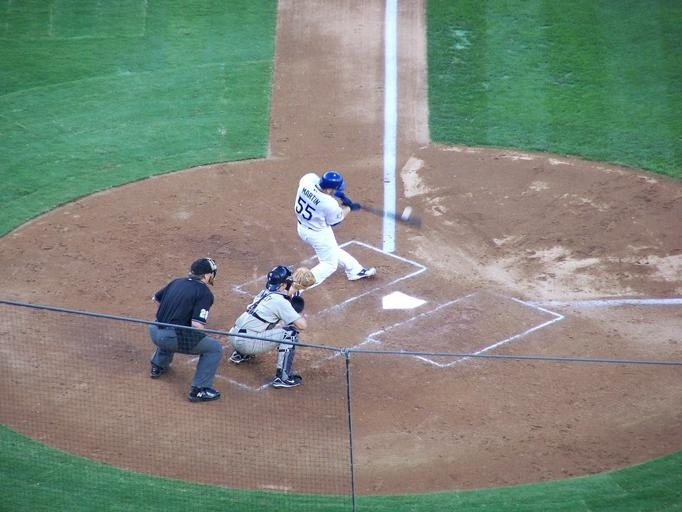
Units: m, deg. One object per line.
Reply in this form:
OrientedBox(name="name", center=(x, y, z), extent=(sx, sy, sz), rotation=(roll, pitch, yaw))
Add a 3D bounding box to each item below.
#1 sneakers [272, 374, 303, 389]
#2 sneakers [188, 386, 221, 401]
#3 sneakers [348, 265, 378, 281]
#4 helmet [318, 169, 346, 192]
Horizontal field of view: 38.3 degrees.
OrientedBox(name="sneakers", center=(-0.857, 1.989, 15.545), extent=(0.611, 0.168, 0.172), rotation=(-4, 22, -8))
OrientedBox(name="sneakers", center=(-2.130, 2.154, 15.248), extent=(0.526, 0.216, 0.191), rotation=(-3, 27, -9))
OrientedBox(name="sneakers", center=(0.463, 0.308, 17.868), extent=(0.671, 0.202, 0.174), rotation=(-7, 39, 3))
OrientedBox(name="helmet", center=(-0.172, -1.323, 17.349), extent=(0.392, 0.314, 0.363), rotation=(-1, -10, 1))
